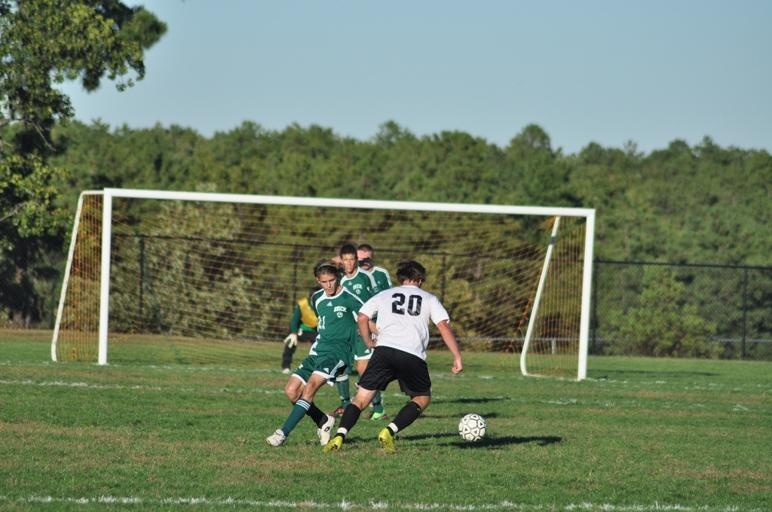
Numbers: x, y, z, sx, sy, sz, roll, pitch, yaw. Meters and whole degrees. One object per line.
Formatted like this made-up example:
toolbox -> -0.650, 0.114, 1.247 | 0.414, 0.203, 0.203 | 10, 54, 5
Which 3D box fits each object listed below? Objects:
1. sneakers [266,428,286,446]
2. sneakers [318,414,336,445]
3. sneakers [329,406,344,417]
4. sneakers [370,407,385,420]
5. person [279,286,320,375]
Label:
sneakers -> -1.867, 3.118, 18.015 | 0.321, 0.258, 0.140 | -24, 2, -5
sneakers -> -1.026, 3.004, 18.074 | 0.241, 0.628, 0.200 | 6, 0, -6
sneakers -> -0.933, 2.942, 19.858 | 0.356, 0.169, 0.135 | -7, -9, 34
sneakers -> -0.144, 2.949, 19.643 | 0.183, 0.200, 0.421 | -2, -8, 3
person -> -1.675, 1.669, 22.511 | 0.795, 2.306, 0.755 | 12, 27, -3
